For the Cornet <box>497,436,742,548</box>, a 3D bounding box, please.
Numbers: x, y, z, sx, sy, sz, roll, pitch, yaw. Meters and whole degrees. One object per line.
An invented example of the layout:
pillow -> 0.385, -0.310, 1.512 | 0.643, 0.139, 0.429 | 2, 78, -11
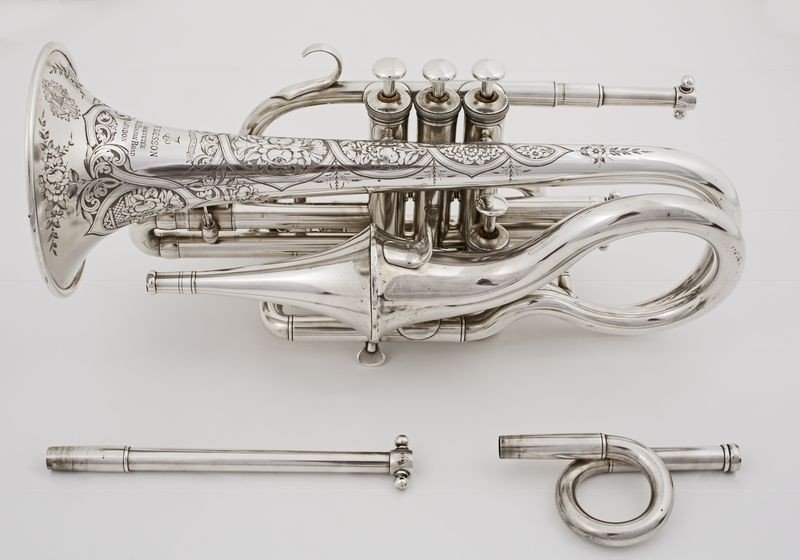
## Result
Cornet -> 0.412, 0.383, 2.026 | 0.393, 0.208, 0.086 | -1, -33, -1
